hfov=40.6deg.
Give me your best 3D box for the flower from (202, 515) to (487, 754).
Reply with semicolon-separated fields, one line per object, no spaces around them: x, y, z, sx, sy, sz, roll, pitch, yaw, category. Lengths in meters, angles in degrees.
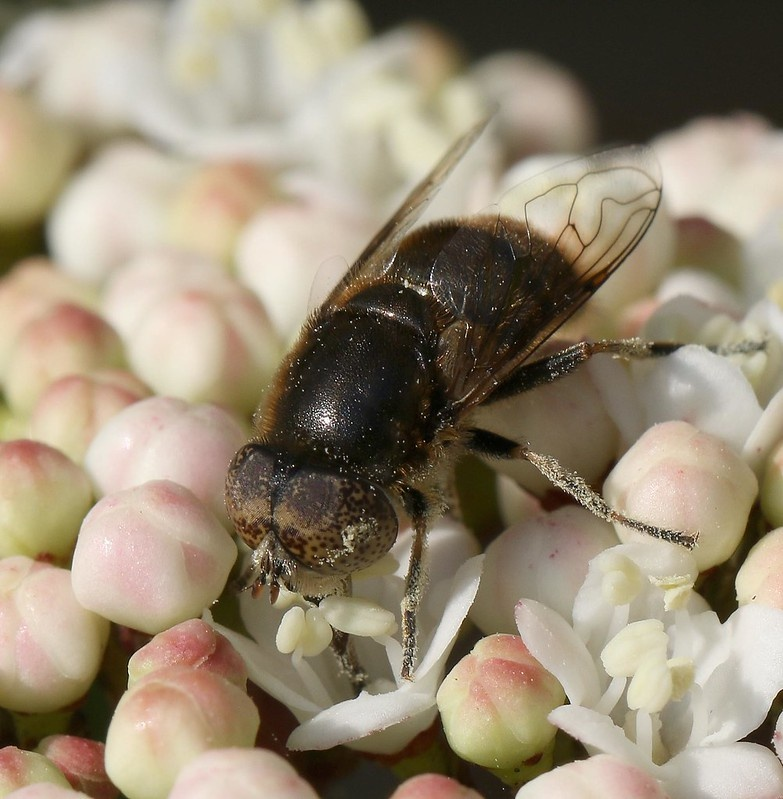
-0.001;0.142;0.629;0.159;0.162;0.121;-26;78;-4;flower
